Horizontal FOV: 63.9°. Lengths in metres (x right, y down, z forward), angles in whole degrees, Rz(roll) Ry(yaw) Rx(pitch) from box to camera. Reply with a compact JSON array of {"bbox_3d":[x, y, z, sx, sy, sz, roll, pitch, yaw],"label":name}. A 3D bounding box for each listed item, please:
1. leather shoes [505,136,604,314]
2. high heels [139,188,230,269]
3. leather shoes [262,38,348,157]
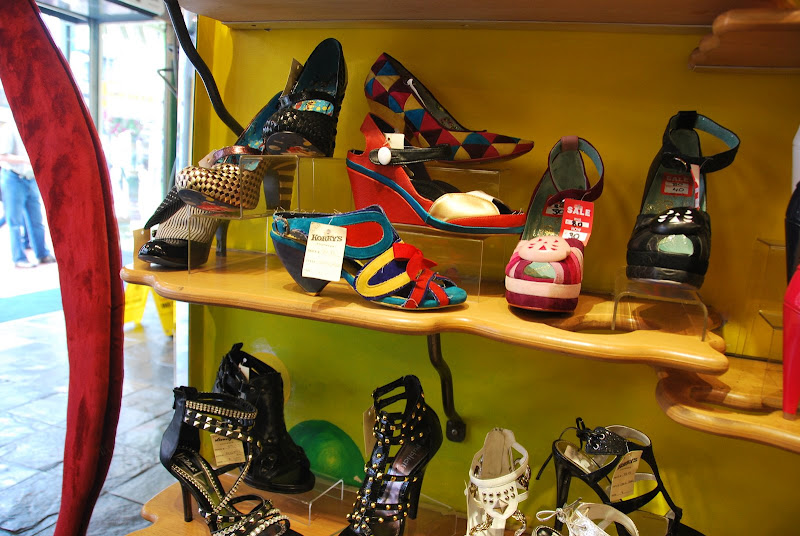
[{"bbox_3d":[0.409,-0.117,1.672,0.200,0.448,0.293,8,11,17],"label":"leather shoes"},{"bbox_3d":[-0.625,-0.104,1.870,0.161,0.224,0.311,2,2,38],"label":"high heels"},{"bbox_3d":[-0.257,-0.466,1.903,0.189,0.409,0.137,10,-2,27],"label":"leather shoes"}]
